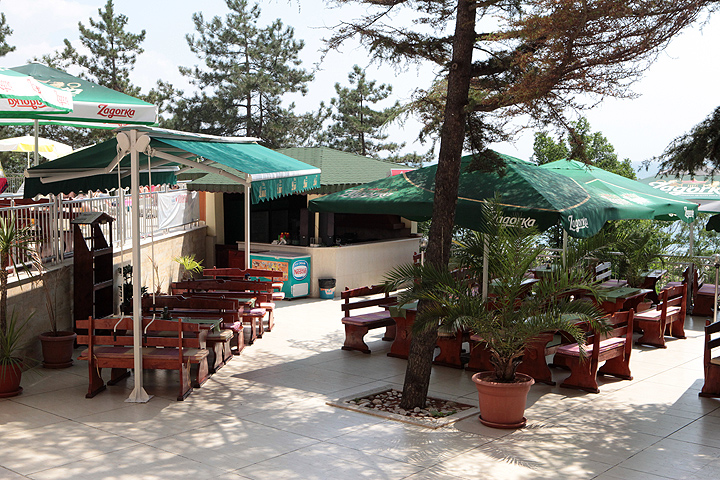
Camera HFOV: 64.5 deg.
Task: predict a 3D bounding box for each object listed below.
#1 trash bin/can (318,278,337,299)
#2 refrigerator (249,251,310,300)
[{"bbox_3d":[-1.052,1.487,17.626,0.602,0.603,0.577,-1,1,-41],"label":"trash bin/can"},{"bbox_3d":[-2.568,0.863,17.694,1.286,1.647,2.321,-5,7,-43],"label":"refrigerator"}]
